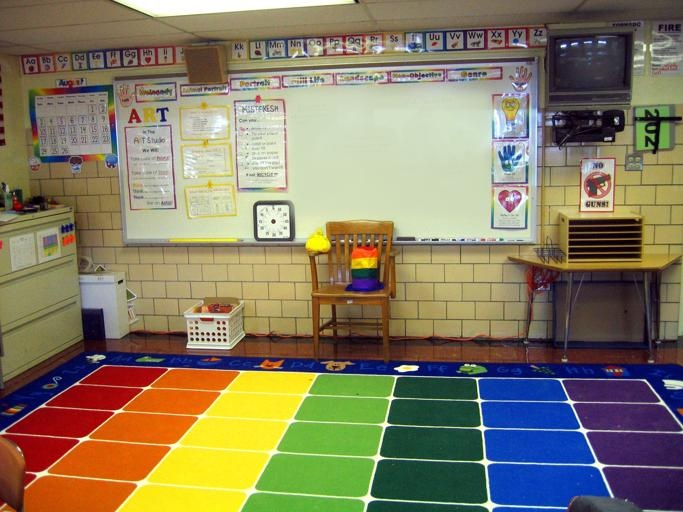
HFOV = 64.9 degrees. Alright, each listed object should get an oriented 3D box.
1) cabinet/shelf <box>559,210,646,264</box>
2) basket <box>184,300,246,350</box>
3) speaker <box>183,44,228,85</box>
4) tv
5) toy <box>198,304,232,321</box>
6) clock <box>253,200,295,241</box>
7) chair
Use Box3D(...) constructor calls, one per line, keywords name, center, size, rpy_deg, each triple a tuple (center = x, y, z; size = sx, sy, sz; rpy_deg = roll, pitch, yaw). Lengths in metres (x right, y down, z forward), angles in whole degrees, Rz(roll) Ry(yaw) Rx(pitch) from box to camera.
Box3D(name="cabinet/shelf", center=(2.316, -0.179, 4.777), size=(0.664, 0.394, 0.438), rpy_deg=(0, 13, 9))
Box3D(name="basket", center=(-1.271, 0.671, 5.369), size=(0.515, 0.418, 0.429), rpy_deg=(-1, 13, 5))
Box3D(name="speaker", center=(-1.287, -1.824, 5.076), size=(0.449, 0.318, 0.199), rpy_deg=(2, 28, 9))
Box3D(name="tv", center=(2.096, -1.601, 4.474), size=(0.772, 0.475, 0.362), rpy_deg=(0, 6, 7))
Box3D(name="toy", center=(-1.256, 0.558, 5.348), size=(0.218, 0.067, 0.233), rpy_deg=(1, 4, 1))
Box3D(name="clock", center=(-0.661, -0.369, 5.298), size=(0.530, 0.395, 0.051), rpy_deg=(0, 4, 7))
Box3D(name="chair", center=(0.131, 0.272, 4.979), size=(0.854, 1.012, 0.729), rpy_deg=(-1, 11, 12))
